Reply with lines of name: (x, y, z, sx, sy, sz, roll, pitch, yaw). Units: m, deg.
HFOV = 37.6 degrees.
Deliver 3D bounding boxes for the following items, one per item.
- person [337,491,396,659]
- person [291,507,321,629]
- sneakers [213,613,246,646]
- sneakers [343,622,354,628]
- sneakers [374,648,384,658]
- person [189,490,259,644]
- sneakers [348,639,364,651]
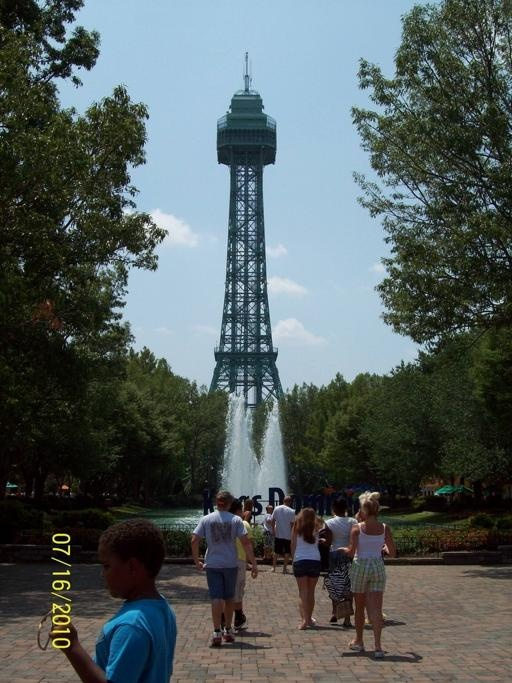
person: (1.276, 2.549, 8.375, 0.526, 1.665, 1.481, -1, -12, 8)
person: (0.628, 2.913, 9.584, 0.343, 1.470, 0.518, 0, -12, 2)
sneakers: (-0.309, 3.361, 8.508, 0.205, 0.287, 0.632, -1, -6, 8)
sneakers: (1.168, 3.660, 9.596, 0.083, 0.110, 0.194, 4, -15, 1)
sneakers: (1.244, 3.164, 7.516, 0.047, 0.056, 0.133, 0, -17, -1)
person: (-0.370, 2.600, 8.593, 0.722, 1.670, 0.943, 2, -12, -4)
sneakers: (1.055, 3.238, 7.874, 0.152, 0.078, 0.244, 1, -12, -2)
